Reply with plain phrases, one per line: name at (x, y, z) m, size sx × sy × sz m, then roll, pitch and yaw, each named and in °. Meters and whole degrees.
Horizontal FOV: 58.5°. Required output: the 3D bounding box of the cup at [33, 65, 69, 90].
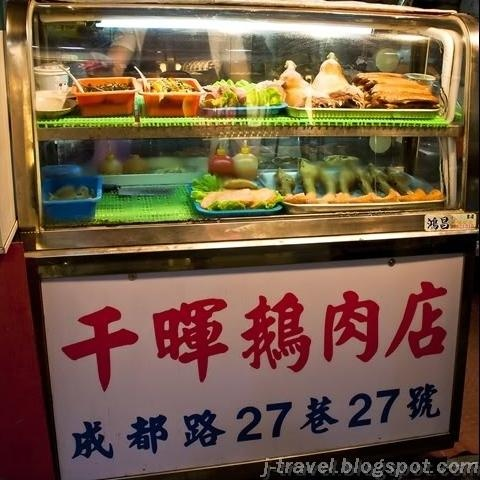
cup at (-0.704, -0.604, 1.603) m, size 0.099 × 0.089 × 0.098 m, roll 0°, pitch 22°, yaw 0°

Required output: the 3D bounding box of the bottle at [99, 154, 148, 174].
bottle at (-0.498, -0.326, 1.839) m, size 0.199 × 0.094 × 0.048 m, roll -10°, pitch 14°, yaw -14°

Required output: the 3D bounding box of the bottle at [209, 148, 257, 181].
bottle at (-0.042, -0.348, 1.939) m, size 0.122 × 0.143 × 0.050 m, roll -3°, pitch 27°, yaw -11°

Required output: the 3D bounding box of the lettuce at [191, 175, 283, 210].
lettuce at (-0.024, -0.205, 1.912) m, size 0.238 × 0.074 × 0.235 m, roll 2°, pitch 21°, yaw -6°

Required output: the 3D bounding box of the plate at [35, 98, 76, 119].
plate at (-0.692, -0.497, 1.624) m, size 0.024 × 0.073 × 0.174 m, roll 2°, pitch 16°, yaw 29°

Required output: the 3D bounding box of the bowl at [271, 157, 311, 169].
bowl at (0.231, -0.381, 2.032) m, size 0.197 × 0.061 × 0.067 m, roll -4°, pitch 21°, yaw -11°
